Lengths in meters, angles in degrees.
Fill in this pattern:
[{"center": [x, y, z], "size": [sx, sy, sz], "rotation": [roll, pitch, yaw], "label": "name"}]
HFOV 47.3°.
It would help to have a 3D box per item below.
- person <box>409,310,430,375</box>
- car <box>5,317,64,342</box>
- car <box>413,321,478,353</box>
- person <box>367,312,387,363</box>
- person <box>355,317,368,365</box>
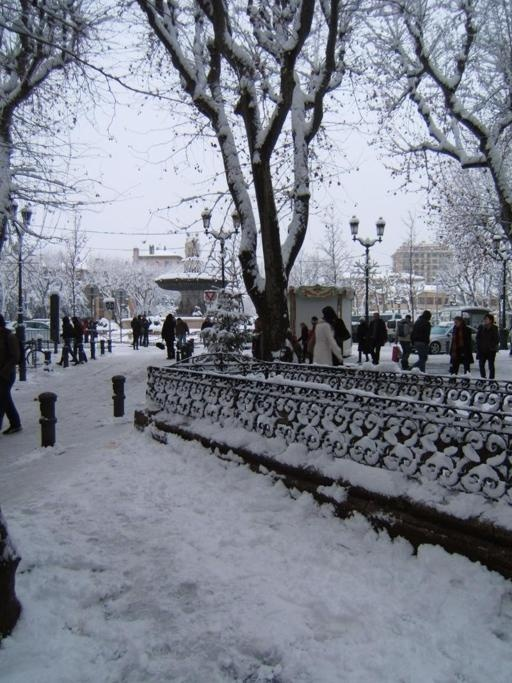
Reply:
[{"center": [3.930, 0.007, 14.034], "size": [0.408, 1.530, 0.951], "rotation": [1, 6, 14], "label": "person"}, {"center": [-7.276, -0.383, 19.347], "size": [0.873, 0.792, 2.001], "rotation": [6, 9, 40], "label": "car"}, {"center": [8.577, -0.498, 26.066], "size": [2.709, 1.681, 1.845], "rotation": [2, -3, -5], "label": "car"}, {"center": [3.497, -0.071, 16.981], "size": [0.479, 1.565, 2.003], "rotation": [1, 6, 11], "label": "person"}, {"center": [3.223, -0.022, 17.674], "size": [0.320, 1.246, 1.597], "rotation": [1, 6, 10], "label": "person"}]
